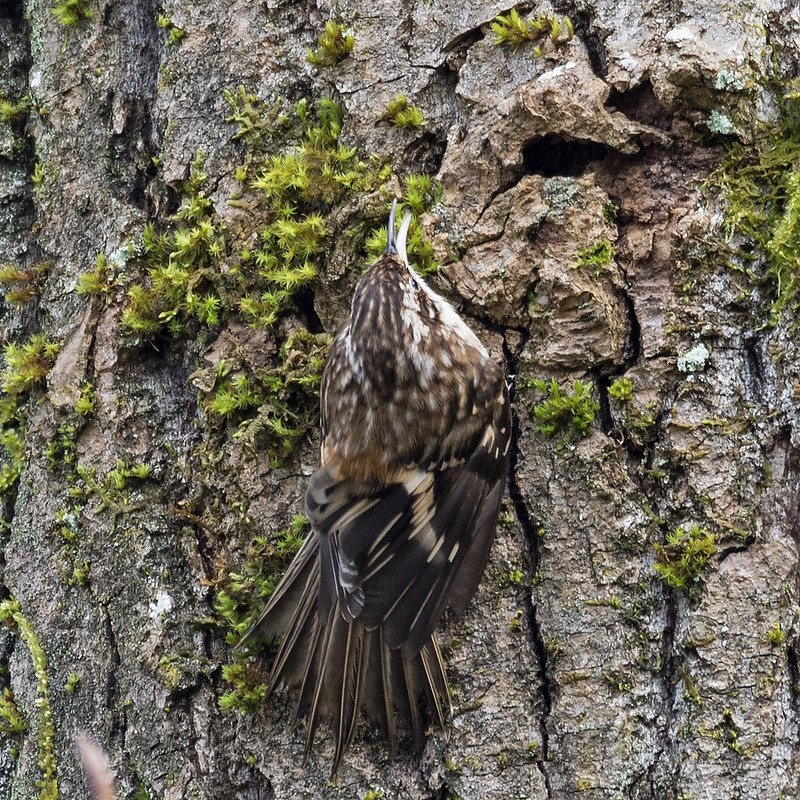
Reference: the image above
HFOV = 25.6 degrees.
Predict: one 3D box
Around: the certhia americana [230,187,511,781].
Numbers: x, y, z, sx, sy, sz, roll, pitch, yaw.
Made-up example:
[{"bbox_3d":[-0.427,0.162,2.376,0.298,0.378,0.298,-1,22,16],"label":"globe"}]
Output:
[{"bbox_3d":[-0.035,0.432,5.298,0.516,0.712,2.062,6,91,2],"label":"certhia americana"}]
